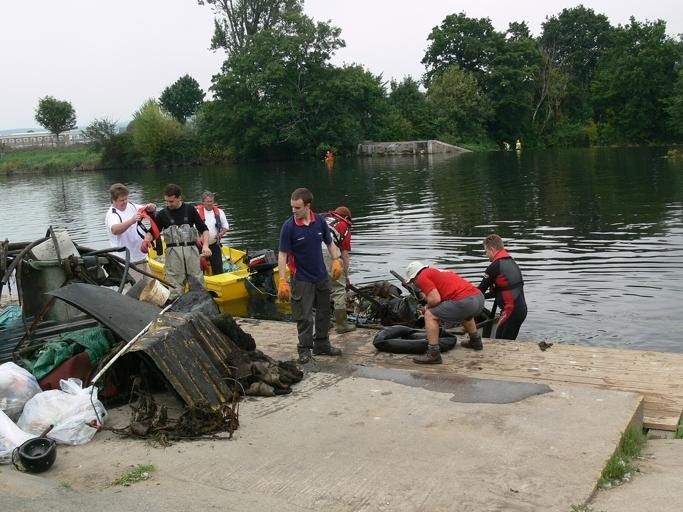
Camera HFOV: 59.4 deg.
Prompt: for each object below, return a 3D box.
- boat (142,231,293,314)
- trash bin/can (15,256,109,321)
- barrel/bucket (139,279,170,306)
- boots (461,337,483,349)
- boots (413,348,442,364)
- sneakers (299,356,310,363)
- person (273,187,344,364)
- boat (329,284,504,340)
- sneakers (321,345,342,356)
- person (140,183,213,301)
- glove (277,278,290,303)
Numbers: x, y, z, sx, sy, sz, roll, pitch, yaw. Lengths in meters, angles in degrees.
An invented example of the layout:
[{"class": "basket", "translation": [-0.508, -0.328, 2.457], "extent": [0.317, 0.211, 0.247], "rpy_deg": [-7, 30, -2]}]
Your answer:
[{"class": "boat", "translation": [-2.527, 0.400, 11.699], "extent": [2.827, 0.923, 1.553], "rpy_deg": [13, 14, 37]}, {"class": "trash bin/can", "translation": [-3.442, 0.408, 7.455], "extent": [0.962, 0.615, 0.844], "rpy_deg": [3, -5, -42]}, {"class": "barrel/bucket", "translation": [-2.455, 0.492, 8.035], "extent": [0.278, 0.316, 0.332], "rpy_deg": [22, 1, -13]}, {"class": "boots", "translation": [1.711, 1.136, 7.976], "extent": [0.115, 0.172, 0.318], "rpy_deg": [-10, 14, -44]}, {"class": "boots", "translation": [1.044, 1.245, 7.499], "extent": [0.378, 0.194, 0.146], "rpy_deg": [3, 1, 12]}, {"class": "sneakers", "translation": [-0.453, 1.265, 7.367], "extent": [0.142, 0.086, 0.116], "rpy_deg": [-2, 11, -4]}, {"class": "person", "translation": [-0.404, 0.238, 7.613], "extent": [0.683, 2.149, 1.057], "rpy_deg": [3, 13, 21]}, {"class": "boat", "translation": [0.687, 0.773, 9.203], "extent": [1.645, 0.532, 1.108], "rpy_deg": [6, 11, 27]}, {"class": "sneakers", "translation": [-0.131, 1.228, 7.831], "extent": [0.259, 0.087, 0.120], "rpy_deg": [0, 5, 6]}, {"class": "person", "translation": [-2.396, -0.234, 9.005], "extent": [0.905, 1.634, 1.032], "rpy_deg": [5, 14, 27]}, {"class": "glove", "translation": [-0.716, 0.415, 7.395], "extent": [0.124, 0.308, 0.232], "rpy_deg": [-2, 12, -3]}]
